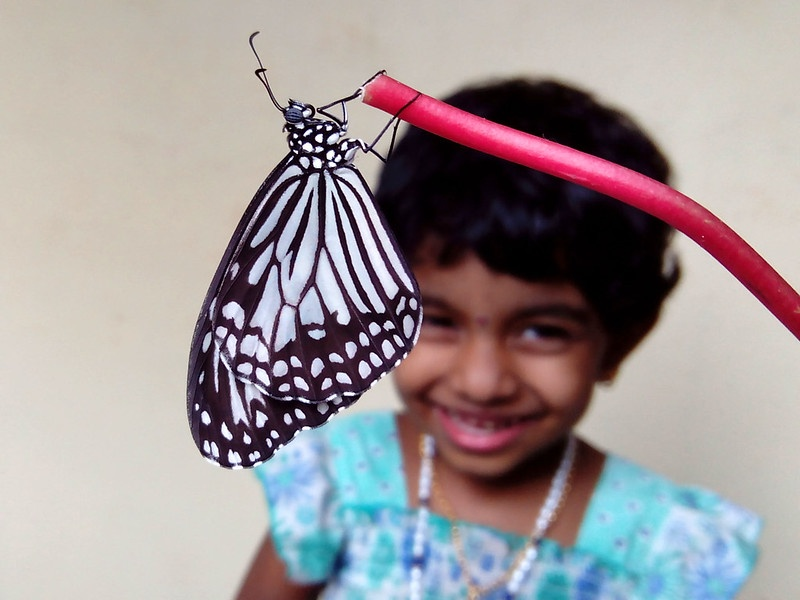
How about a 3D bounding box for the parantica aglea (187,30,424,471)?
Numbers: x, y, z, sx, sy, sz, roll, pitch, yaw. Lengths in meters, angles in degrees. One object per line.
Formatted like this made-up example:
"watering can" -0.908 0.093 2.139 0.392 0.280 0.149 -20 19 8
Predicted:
"parantica aglea" -0.121 0.004 1.125 0.223 0.328 0.319 23 -35 -28
